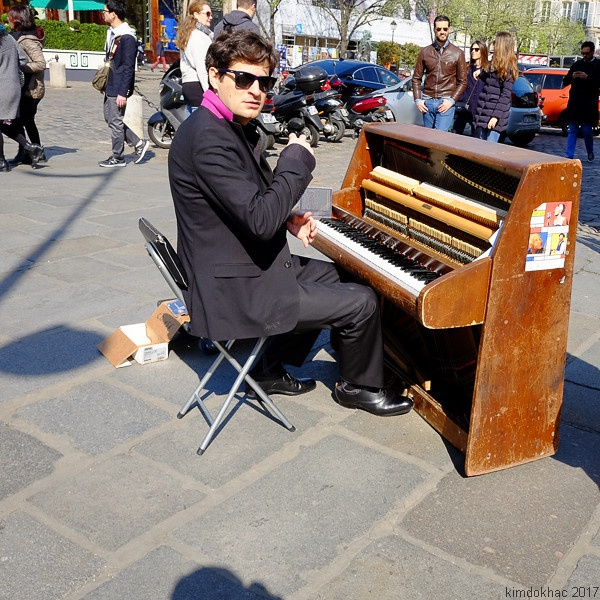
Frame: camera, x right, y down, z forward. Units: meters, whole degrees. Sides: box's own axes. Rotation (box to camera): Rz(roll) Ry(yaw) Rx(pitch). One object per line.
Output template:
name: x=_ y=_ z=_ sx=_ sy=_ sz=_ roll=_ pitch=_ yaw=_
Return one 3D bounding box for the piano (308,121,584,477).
piano: x=0.618 y=-0.108 z=2.816 sx=0.855 sy=1.395 sz=1.506 roll=-9 pitch=23 yaw=-12

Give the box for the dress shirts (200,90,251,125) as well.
dress shirts: x=-0.309 y=-0.788 z=2.161 sx=0.170 sy=0.086 sz=0.123 roll=21 pitch=21 yaw=-18

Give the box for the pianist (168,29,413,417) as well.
pianist: x=-0.007 y=-0.287 z=2.487 sx=1.208 sy=1.625 sz=0.727 roll=1 pitch=19 yaw=-5

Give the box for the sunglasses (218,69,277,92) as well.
sunglasses: x=-0.182 y=-0.898 z=2.143 sx=0.262 sy=0.081 sz=0.126 roll=-10 pitch=21 yaw=-35
